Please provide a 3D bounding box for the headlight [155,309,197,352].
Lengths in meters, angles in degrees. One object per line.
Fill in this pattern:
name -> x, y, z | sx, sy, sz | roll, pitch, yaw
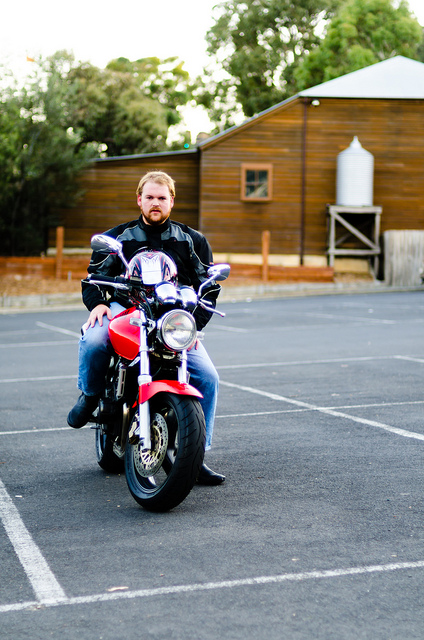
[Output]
headlight -> -0.182, 0.044, 3.851 | 0.192, 0.200, 0.163 | 0, 5, 3

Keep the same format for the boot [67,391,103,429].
boot -> -0.770, 0.503, 4.823 | 0.141, 0.163, 0.382 | 22, -40, -20

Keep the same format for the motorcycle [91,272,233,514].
motorcycle -> -0.277, 0.371, 4.254 | 0.621, 1.199, 1.065 | -2, 5, -14
